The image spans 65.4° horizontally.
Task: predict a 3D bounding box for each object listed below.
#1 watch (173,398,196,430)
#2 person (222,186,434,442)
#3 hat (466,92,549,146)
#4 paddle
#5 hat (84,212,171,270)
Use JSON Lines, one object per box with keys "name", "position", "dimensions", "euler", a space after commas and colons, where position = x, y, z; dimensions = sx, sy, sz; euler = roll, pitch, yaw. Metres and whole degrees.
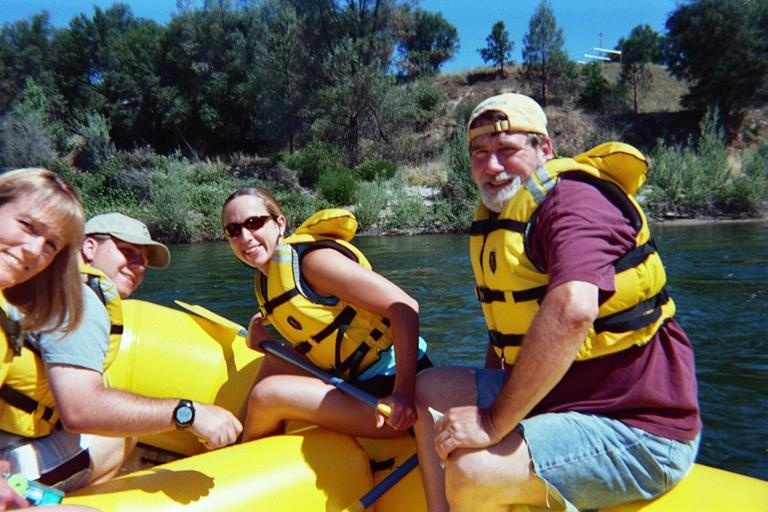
{"name": "watch", "position": [-0.857, 0.694, 2.611], "dimensions": [0.075, 0.120, 0.110], "euler": [1, -21, -6]}
{"name": "person", "position": [-0.280, 0.567, 3.563], "dimensions": [1.184, 1.793, 1.029], "euler": [-2, -21, -12]}
{"name": "hat", "position": [0.577, -0.642, 2.777], "dimensions": [0.247, 0.162, 0.252], "euler": [-5, 9, -25]}
{"name": "paddle", "position": [-0.529, 0.570, 3.171], "dimensions": [1.666, 0.211, 0.083], "euler": [21, 59, 36]}
{"name": "hat", "position": [-1.486, -0.121, 3.326], "dimensions": [0.370, 0.208, 0.262], "euler": [9, -17, -16]}
